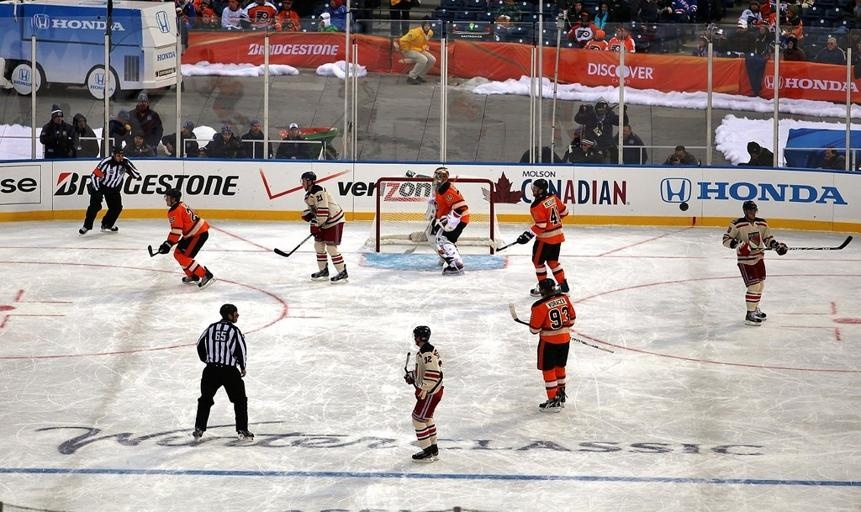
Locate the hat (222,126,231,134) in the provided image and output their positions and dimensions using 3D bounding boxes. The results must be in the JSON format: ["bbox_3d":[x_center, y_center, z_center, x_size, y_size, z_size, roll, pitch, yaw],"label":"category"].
[{"bbox_3d":[-4.574,-2.791,21.641,0.224,0.096,0.171,-3,8,-17],"label":"hat"}]

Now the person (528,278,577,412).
[{"bbox_3d":[1.603,1.185,13.008,0.577,1.782,0.463,1,11,5],"label":"person"}]

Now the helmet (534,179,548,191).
[{"bbox_3d":[1.835,-1.175,16.226,0.209,0.198,0.173,-9,11,19],"label":"helmet"}]

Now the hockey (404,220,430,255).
[{"bbox_3d":[-0.341,-0.309,19.812,0.366,0.441,0.702,6,10,29],"label":"hockey"}]

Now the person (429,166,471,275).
[{"bbox_3d":[0.302,-0.652,17.892,0.661,1.884,0.378,0,11,1],"label":"person"}]

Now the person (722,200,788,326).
[{"bbox_3d":[5.140,0.117,15.610,0.883,1.961,0.342,2,11,9],"label":"person"}]

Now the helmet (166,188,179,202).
[{"bbox_3d":[-4.454,-1.032,16.700,0.254,0.214,0.210,-5,2,34],"label":"helmet"}]

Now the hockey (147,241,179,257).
[{"bbox_3d":[-4.866,-0.104,17.580,0.270,0.138,0.481,22,22,41],"label":"hockey"}]

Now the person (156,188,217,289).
[{"bbox_3d":[-4.369,-0.354,17.182,0.928,1.675,1.506,-2,10,-13],"label":"person"}]

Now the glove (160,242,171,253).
[{"bbox_3d":[-4.559,-0.141,16.582,0.185,0.222,0.338,-2,9,-14],"label":"glove"}]

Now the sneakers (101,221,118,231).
[{"bbox_3d":[-6.762,-0.585,20.323,0.341,0.114,0.132,3,-17,-30],"label":"sneakers"}]

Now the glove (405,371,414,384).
[{"bbox_3d":[-0.266,1.487,11.741,0.114,0.119,0.054,-2,1,-8],"label":"glove"}]

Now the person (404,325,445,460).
[{"bbox_3d":[-0.092,1.684,11.923,0.427,1.676,0.444,0,11,0],"label":"person"}]

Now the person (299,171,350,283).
[{"bbox_3d":[-1.924,-0.525,17.478,0.784,1.943,0.797,-1,11,-5],"label":"person"}]

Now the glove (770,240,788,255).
[{"bbox_3d":[5.934,-0.121,16.580,0.433,0.155,0.241,13,-5,17],"label":"glove"}]

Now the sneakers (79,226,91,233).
[{"bbox_3d":[-7.163,-0.512,20.023,0.146,0.088,0.280,-7,0,0],"label":"sneakers"}]

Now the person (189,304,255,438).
[{"bbox_3d":[-2.650,1.487,12.239,0.750,1.717,0.423,-1,11,-9],"label":"person"}]

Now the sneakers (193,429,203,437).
[{"bbox_3d":[-2.950,2.258,12.339,0.142,0.102,0.098,1,2,-20],"label":"sneakers"}]

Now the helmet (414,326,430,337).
[{"bbox_3d":[-0.117,0.932,11.815,0.196,0.154,0.231,-1,9,-7],"label":"helmet"}]

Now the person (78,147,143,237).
[{"bbox_3d":[-6.710,-1.275,20.068,1.178,1.667,0.461,-2,11,-14],"label":"person"}]

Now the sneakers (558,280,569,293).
[{"bbox_3d":[2.234,0.527,16.334,0.212,0.250,0.281,-1,-19,-3],"label":"sneakers"}]

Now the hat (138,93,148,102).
[{"bbox_3d":[-6.333,-3.452,21.238,0.206,0.127,0.281,1,1,-8],"label":"hat"}]

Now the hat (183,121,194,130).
[{"bbox_3d":[-5.378,-2.888,21.580,0.199,0.148,0.311,3,9,17],"label":"hat"}]
